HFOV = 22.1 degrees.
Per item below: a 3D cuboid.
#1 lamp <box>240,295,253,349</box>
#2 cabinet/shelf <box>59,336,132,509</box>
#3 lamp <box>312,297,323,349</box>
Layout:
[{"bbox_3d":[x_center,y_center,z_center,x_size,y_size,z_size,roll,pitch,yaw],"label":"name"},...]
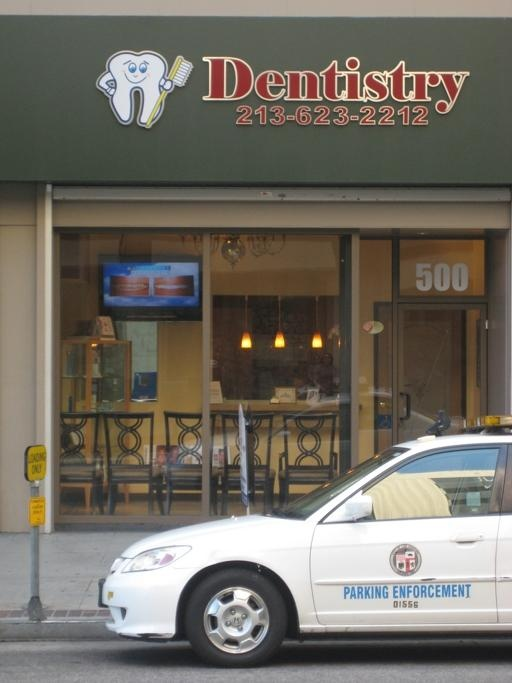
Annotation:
[{"bbox_3d":[-0.109,-0.180,14.071,0.137,0.582,0.036,-1,-1,-6],"label":"lamp"},{"bbox_3d":[-1.780,0.763,14.148,0.615,1.950,0.705,-4,5,-20],"label":"cabinet/shelf"},{"bbox_3d":[0.646,-0.184,14.156,0.124,0.565,0.031,-1,-1,-2],"label":"lamp"}]
